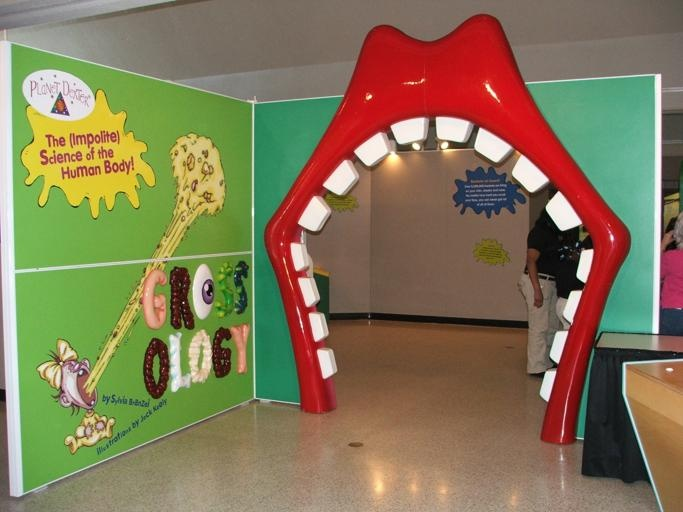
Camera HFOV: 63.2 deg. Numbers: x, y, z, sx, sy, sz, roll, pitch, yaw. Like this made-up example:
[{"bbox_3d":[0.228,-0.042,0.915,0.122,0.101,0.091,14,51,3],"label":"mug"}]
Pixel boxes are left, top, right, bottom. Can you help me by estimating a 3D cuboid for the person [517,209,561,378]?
[{"bbox_3d":[1.954,0.348,5.439,0.379,1.583,0.403,1,6,11],"label":"person"}]
